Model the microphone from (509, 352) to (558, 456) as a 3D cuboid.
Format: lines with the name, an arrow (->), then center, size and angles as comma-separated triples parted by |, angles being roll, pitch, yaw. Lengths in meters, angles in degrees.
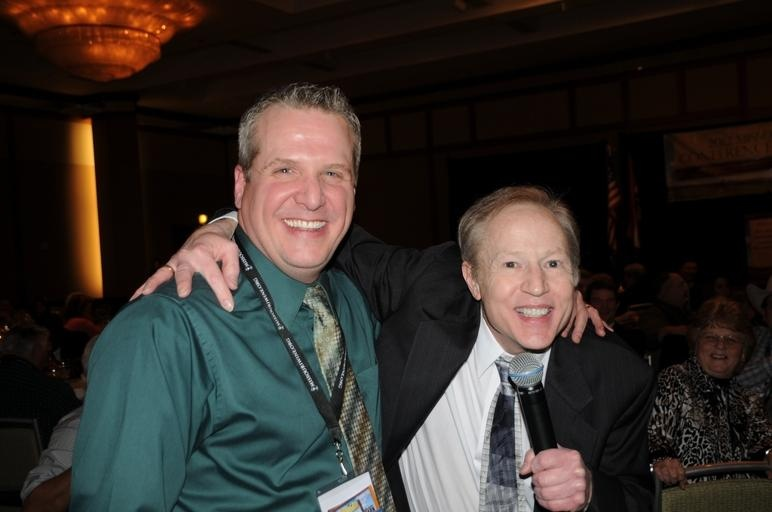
microphone -> 0.704, 0.719, 2.901 | 0.158, 0.497, 0.202 | -5, -4, 33

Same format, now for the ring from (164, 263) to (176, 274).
ring -> -1.097, 0.056, 3.062 | 0.015, 0.057, 0.057 | -45, -21, -8
